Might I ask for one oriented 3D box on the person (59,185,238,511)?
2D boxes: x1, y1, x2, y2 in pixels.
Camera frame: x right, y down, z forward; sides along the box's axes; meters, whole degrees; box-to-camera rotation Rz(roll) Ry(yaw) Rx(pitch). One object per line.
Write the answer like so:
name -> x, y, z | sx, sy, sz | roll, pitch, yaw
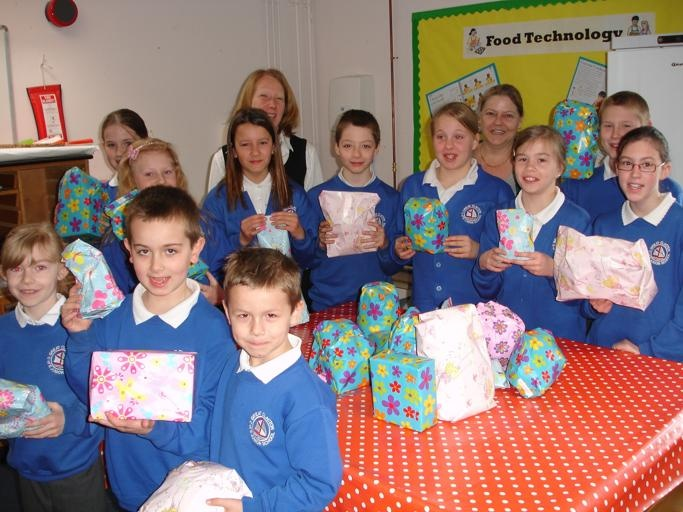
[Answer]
person -> -0.611, 0.326, 1.761 | 0.498, 1.026, 0.495 | -12, 18, -30
